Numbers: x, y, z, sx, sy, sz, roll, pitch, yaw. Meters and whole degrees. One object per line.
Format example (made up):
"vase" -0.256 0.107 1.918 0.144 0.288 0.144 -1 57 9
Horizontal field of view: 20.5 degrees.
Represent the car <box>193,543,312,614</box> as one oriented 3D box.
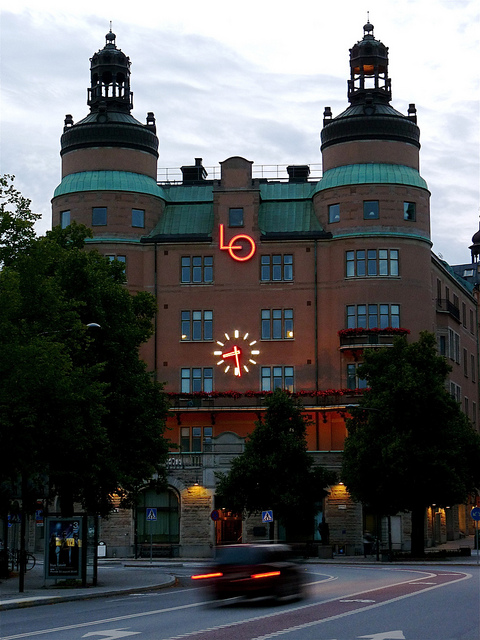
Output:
"car" 0.329 6.201 32.021 2.592 1.682 2.738 0 -12 1
